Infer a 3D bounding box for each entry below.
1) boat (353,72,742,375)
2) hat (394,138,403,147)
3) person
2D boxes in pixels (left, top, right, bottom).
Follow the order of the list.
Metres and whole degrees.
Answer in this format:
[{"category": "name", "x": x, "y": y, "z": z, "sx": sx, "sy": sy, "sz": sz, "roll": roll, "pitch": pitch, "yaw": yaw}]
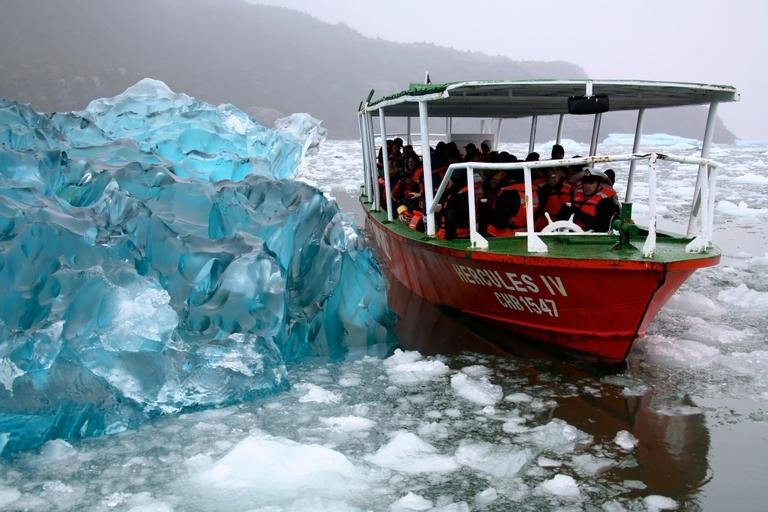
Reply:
[{"category": "boat", "x": 1.498, "y": -0.754, "z": 7.308, "sx": 3.001, "sy": 2.420, "sz": 6.374, "roll": -3, "pitch": 8, "yaw": -13}, {"category": "hat", "x": 0.329, "y": -2.399, "z": 10.552, "sx": 0.202, "sy": 0.175, "sz": 0.248, "roll": -23, "pitch": 15, "yaw": -1}, {"category": "person", "x": 1.384, "y": -0.721, "z": 6.099, "sx": 2.566, "sy": 0.835, "sz": 1.368, "roll": 1, "pitch": 8, "yaw": 18}]
